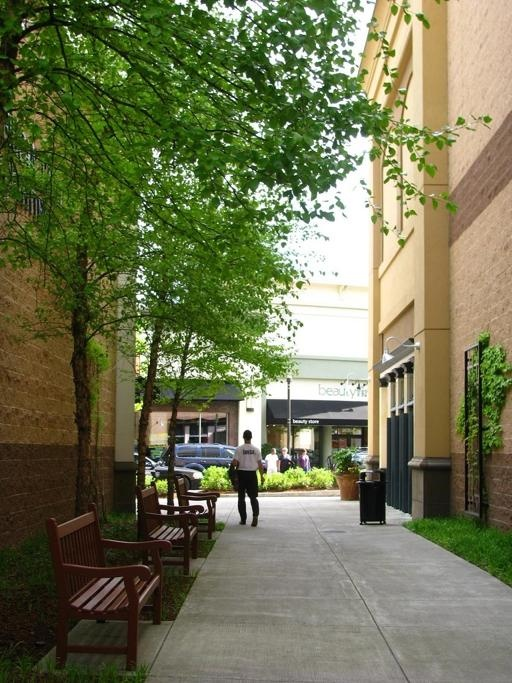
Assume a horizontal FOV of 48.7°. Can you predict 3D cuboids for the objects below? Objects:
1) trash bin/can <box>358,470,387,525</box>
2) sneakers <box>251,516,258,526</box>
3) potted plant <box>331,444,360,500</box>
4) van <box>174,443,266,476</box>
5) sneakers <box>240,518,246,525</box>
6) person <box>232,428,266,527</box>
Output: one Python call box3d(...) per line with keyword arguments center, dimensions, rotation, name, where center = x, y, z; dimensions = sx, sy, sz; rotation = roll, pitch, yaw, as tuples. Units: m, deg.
box3d(center=(2.615, 3.458, 12.579), dimensions=(0.797, 1.128, 0.833), rotation=(-7, -15, 32), name="trash bin/can")
box3d(center=(-0.010, 3.699, 11.544), dimensions=(0.081, 0.219, 0.089), rotation=(5, -3, -4), name="sneakers")
box3d(center=(3.058, 4.541, 18.838), dimensions=(0.880, 1.496, 0.962), rotation=(-1, -13, 3), name="potted plant")
box3d(center=(-1.635, 6.054, 27.307), dimensions=(4.484, 1.886, 2.119), rotation=(-2, -2, -10), name="van")
box3d(center=(-0.270, 3.767, 11.784), dimensions=(0.075, 0.157, 0.156), rotation=(2, 4, -10), name="sneakers")
box3d(center=(-0.202, 2.911, 12.130), dimensions=(0.631, 1.955, 1.400), rotation=(3, -11, -1), name="person")
